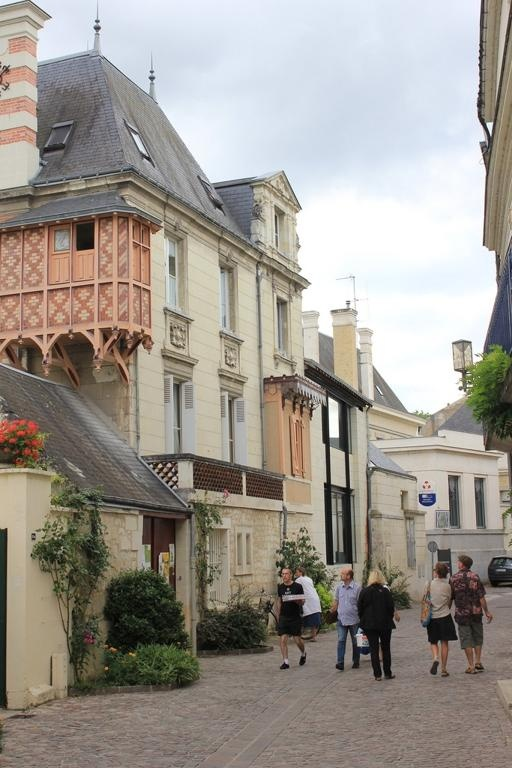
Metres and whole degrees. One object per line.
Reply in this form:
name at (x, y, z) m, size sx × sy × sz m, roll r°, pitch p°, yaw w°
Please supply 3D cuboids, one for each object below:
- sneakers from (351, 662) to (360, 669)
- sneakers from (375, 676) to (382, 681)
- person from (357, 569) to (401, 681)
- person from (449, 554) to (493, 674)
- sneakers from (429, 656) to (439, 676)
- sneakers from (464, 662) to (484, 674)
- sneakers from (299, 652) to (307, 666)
sneakers at (1.501, 4.179, 15.105) m, size 0.067 × 0.139 × 0.144 m, roll -4°, pitch -16°, yaw 16°
sneakers at (1.602, 3.835, 13.242) m, size 0.044 × 0.051 × 0.130 m, roll 1°, pitch -2°, yaw 2°
person at (1.652, 3.261, 13.832) m, size 0.490 × 1.442 × 1.190 m, roll -4°, pitch -9°, yaw 5°
person at (2.977, 3.150, 14.019) m, size 0.490 × 1.563 × 1.939 m, roll -5°, pitch -9°, yaw 12°
sneakers at (2.357, 3.711, 13.286) m, size 0.129 × 0.324 × 0.127 m, roll 5°, pitch 5°, yaw 3°
sneakers at (2.936, 3.799, 13.591) m, size 0.228 × 0.175 × 0.417 m, roll -4°, pitch -20°, yaw 9°
sneakers at (0.716, 4.238, 15.679) m, size 0.089 × 0.107 × 0.248 m, roll -4°, pitch 22°, yaw 17°
